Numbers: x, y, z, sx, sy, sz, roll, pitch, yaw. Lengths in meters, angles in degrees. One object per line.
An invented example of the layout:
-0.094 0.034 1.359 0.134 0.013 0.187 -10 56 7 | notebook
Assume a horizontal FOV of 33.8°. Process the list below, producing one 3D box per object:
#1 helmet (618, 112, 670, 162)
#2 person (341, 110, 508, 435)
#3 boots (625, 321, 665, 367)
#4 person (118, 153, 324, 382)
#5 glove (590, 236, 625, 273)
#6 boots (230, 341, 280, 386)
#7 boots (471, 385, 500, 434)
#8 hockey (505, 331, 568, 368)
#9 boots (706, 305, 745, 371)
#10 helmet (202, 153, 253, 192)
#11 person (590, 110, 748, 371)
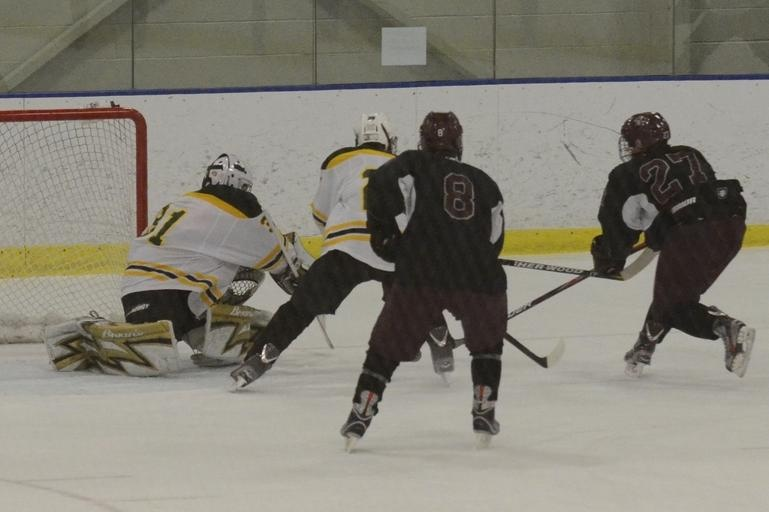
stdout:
1.608 -0.745 7.804 0.363 0.278 0.265 -10 -3 20 | helmet
0.242 0.215 6.748 0.823 1.536 0.351 4 9 3 | person
1.581 0.536 7.648 0.212 0.232 0.145 29 -12 24 | boots
-1.203 -0.014 8.002 1.522 1.192 1.039 2 13 -38 | person
1.384 -0.004 7.823 0.177 0.246 0.086 -18 17 35 | glove
-0.765 0.616 7.321 0.339 0.181 0.094 -36 28 5 | boots
0.546 0.814 6.780 0.148 0.269 0.128 4 9 4 | boots
0.916 0.564 7.641 0.297 0.292 0.074 -40 -16 -28 | hockey
2.021 0.500 7.373 0.162 0.392 0.280 -2 10 -30 | boots
-0.974 -0.533 7.917 0.356 0.195 0.234 7 0 -26 | helmet
1.712 0.016 7.499 0.955 1.326 0.570 4 9 6 | person
